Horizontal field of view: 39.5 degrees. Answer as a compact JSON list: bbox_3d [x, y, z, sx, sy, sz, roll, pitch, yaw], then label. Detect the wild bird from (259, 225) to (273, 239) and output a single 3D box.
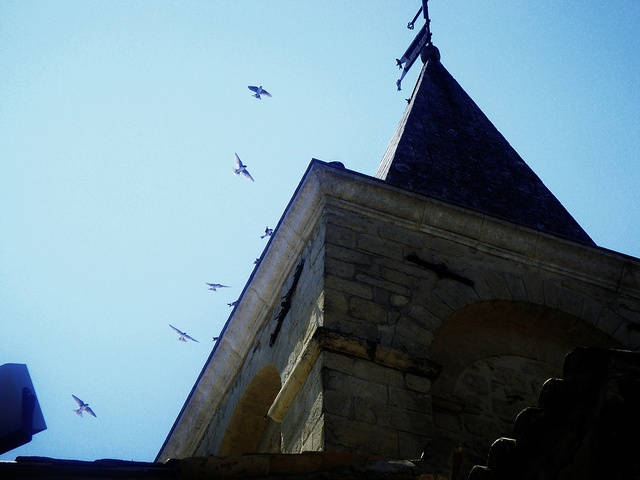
[{"bbox_3d":[-0.468,-0.052,8.062,0.100,0.047,0.129,4,-44,4],"label":"wild bird"}]
